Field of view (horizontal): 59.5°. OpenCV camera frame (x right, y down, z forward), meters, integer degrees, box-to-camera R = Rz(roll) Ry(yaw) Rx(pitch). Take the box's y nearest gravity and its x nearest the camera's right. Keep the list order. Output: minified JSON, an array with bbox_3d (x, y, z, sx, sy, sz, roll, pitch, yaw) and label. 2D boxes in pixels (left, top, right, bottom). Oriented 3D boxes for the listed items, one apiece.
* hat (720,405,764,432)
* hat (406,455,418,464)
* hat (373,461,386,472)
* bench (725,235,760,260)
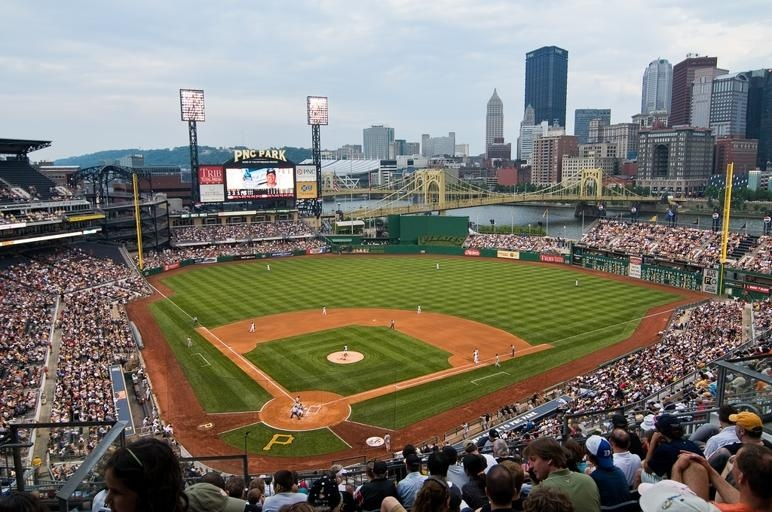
[{"bbox_3d":[10.563,4.967,20.405,0.670,0.836,1.384,0,12,6],"label":"hat"},{"bbox_3d":[0.853,6.766,22.402,0.421,0.324,0.470,0,12,2],"label":"hat"},{"bbox_3d":[-0.222,6.764,21.552,0.331,0.376,0.379,6,33,2],"label":"hat"},{"bbox_3d":[35.036,-0.953,67.856,6.448,1.807,1.288,-21,15,-39],"label":"bench"}]
